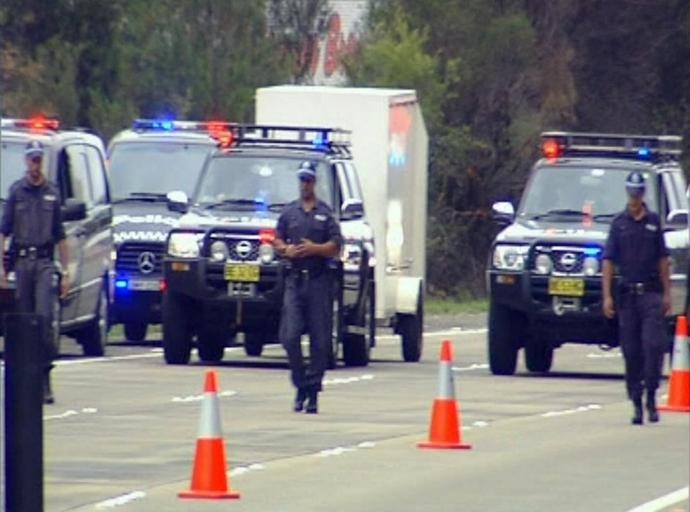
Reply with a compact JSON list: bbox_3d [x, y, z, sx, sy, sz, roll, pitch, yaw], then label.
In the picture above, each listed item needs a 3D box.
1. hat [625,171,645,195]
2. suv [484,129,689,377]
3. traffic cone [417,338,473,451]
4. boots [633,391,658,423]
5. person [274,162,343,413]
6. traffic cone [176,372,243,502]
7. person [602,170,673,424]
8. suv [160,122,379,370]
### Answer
[{"bbox_3d":[3.126,-0.763,17.728,0.199,0.254,0.269,0,-4,3],"label":"hat"},{"bbox_3d":[3.434,-0.163,21.857,2.075,2.177,3.637,0,-2,19],"label":"suv"},{"bbox_3d":[0.913,1.287,15.278,0.499,1.035,0.352,-1,3,2],"label":"traffic cone"},{"bbox_3d":[3.138,1.582,17.164,0.291,0.361,0.310,-2,-15,3],"label":"boots"},{"bbox_3d":[-0.413,0.305,17.448,0.696,2.585,0.833,-1,3,9],"label":"person"},{"bbox_3d":[-1.113,1.425,13.412,0.497,1.056,0.560,0,3,23],"label":"traffic cone"},{"bbox_3d":[3.128,0.417,17.388,0.631,2.572,0.805,-2,3,-23],"label":"person"},{"bbox_3d":[-1.031,-0.156,20.430,2.037,2.222,3.689,0,-3,10],"label":"suv"}]
